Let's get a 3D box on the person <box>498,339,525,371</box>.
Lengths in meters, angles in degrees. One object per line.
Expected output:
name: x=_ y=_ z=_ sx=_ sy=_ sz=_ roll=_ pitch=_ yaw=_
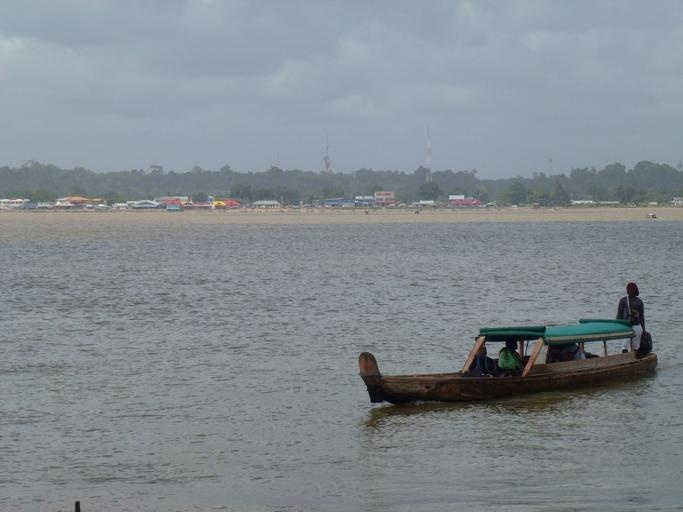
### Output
person: x=8.537 y=5.045 z=79.029 sx=1.793 sy=1.601 sz=1.046 roll=0 pitch=-18 yaw=-4
